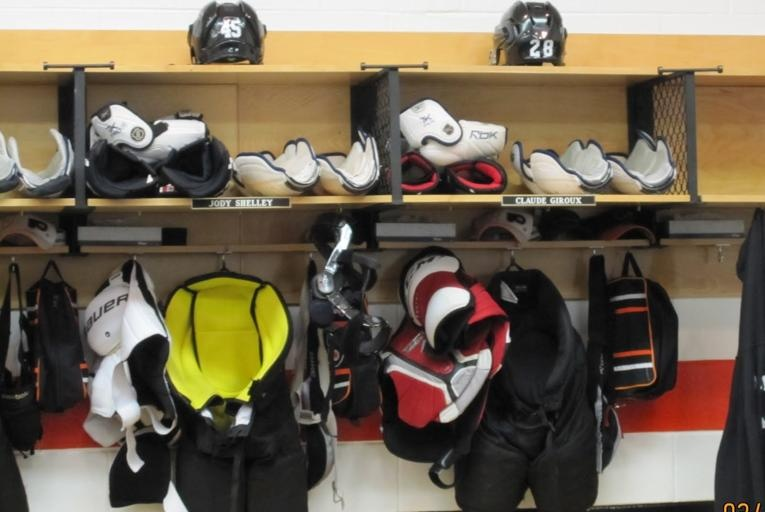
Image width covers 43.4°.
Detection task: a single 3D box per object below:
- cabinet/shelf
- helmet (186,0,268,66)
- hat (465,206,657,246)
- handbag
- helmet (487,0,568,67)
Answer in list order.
[{"bbox_3d":[0.107,-0.505,3.965,3.160,0.476,0.258,-2,1,-5],"label":"cabinet/shelf"},{"bbox_3d":[-0.601,-0.882,3.763,0.212,0.206,0.285,-1,17,-5],"label":"helmet"},{"bbox_3d":[0.769,-0.121,4.072,0.797,0.132,0.162,-2,1,-1],"label":"hat"},{"bbox_3d":[1.086,0.343,4.020,0.298,0.375,0.146,-1,0,7],"label":"handbag"},{"bbox_3d":[0.590,-0.882,3.796,0.218,0.260,0.298,3,11,2],"label":"helmet"}]
